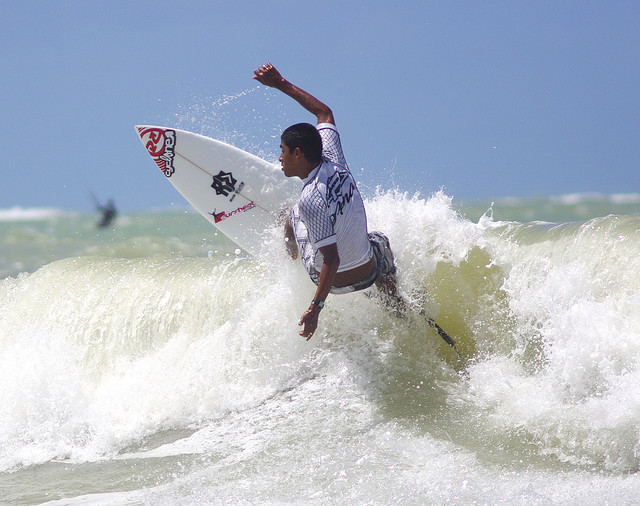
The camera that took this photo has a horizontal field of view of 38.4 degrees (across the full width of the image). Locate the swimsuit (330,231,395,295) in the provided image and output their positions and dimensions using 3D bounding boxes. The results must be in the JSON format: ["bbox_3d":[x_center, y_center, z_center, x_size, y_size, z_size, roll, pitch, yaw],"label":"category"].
[{"bbox_3d":[0.403,0.133,8.285,0.452,0.307,0.622,16,66,24],"label":"swimsuit"}]

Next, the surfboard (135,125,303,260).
[{"bbox_3d":[-0.982,-0.711,9.497,1.652,1.053,0.600,20,39,33],"label":"surfboard"}]
